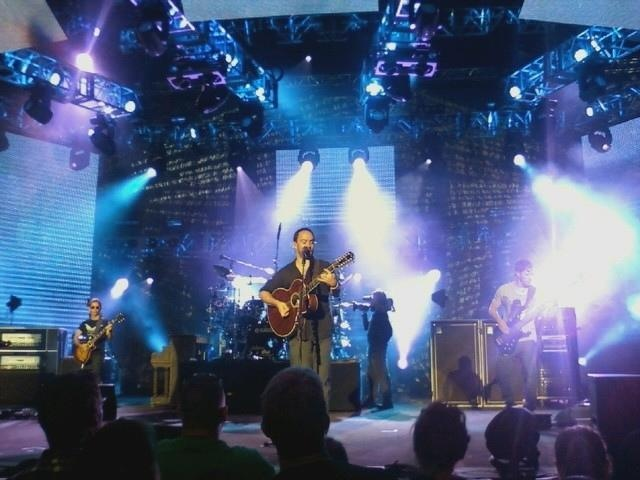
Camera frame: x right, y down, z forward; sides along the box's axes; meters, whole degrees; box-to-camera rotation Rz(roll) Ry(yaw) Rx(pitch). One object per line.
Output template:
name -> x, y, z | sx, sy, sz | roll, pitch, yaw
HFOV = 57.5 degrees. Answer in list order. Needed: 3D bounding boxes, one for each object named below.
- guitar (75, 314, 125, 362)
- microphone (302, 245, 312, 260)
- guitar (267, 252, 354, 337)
guitar -> -4.058, 1.782, 10.426 | 0.806, 0.874, 0.291 | -3, -13, 13
microphone -> -0.128, 0.139, 6.506 | 0.080, 0.138, 0.145 | -2, -39, 3
guitar -> -0.150, 0.617, 6.499 | 1.258, 0.606, 0.186 | -42, -26, 14
